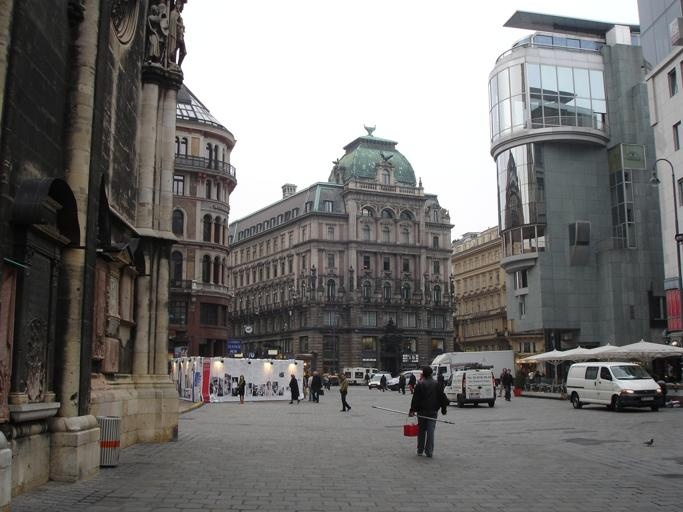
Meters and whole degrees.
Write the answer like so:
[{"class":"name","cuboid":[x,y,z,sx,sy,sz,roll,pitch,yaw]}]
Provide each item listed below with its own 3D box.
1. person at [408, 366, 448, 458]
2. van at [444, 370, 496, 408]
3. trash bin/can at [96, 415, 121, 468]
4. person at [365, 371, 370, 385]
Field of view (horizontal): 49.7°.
[{"class":"person","cuboid":[2.099,3.778,17.846,0.870,2.185,1.076,-3,-14,8]},{"class":"van","cuboid":[6.649,6.963,38.645,1.697,1.600,3.160,1,-6,-8]},{"class":"trash bin/can","cuboid":[-5.008,4.006,15.781,0.476,1.065,0.212,7,-16,-33]},{"class":"person","cuboid":[2.823,13.571,81.211,0.217,1.041,0.688,6,-3,-17]}]
